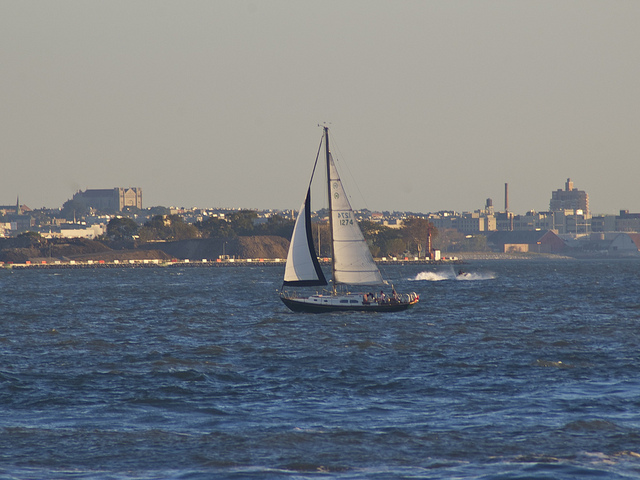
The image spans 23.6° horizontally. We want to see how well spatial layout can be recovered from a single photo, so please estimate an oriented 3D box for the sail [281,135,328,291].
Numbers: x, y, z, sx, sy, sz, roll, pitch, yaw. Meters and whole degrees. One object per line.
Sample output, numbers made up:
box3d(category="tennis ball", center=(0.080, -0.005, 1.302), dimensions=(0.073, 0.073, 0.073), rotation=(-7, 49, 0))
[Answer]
box3d(category="sail", center=(-1.042, -2.197, 114.465), dimensions=(4.421, 11.172, 0.248), rotation=(0, -7, -39))
